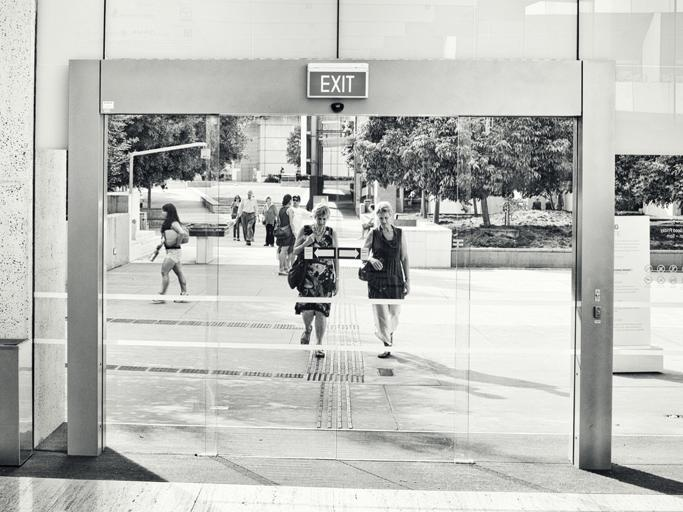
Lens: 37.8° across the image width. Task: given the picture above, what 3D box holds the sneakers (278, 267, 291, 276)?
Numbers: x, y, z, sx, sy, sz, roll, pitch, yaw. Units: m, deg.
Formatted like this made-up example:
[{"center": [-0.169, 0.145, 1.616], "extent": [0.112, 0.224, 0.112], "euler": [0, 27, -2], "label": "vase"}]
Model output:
[{"center": [-0.574, 0.164, 9.893], "extent": [0.045, 0.054, 0.126], "euler": [3, 7, 23], "label": "sneakers"}]

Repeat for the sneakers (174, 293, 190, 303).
[{"center": [-1.574, 0.427, 9.808], "extent": [0.191, 0.140, 0.065], "euler": [1, 2, 0], "label": "sneakers"}]

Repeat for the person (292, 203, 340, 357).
[{"center": [-0.253, 0.250, 9.886], "extent": [0.428, 1.518, 0.171], "euler": [-1, 6, -5], "label": "person"}]

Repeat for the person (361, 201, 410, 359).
[{"center": [0.419, 0.197, 9.842], "extent": [0.463, 1.419, 0.119], "euler": [-1, 6, -3], "label": "person"}]

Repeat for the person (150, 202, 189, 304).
[{"center": [-1.674, -0.053, 9.787], "extent": [0.360, 0.916, 0.126], "euler": [-1, 6, -11], "label": "person"}]

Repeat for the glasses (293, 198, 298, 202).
[{"center": [-0.448, -0.547, 9.819], "extent": [0.031, 0.024, 0.032], "euler": [-6, 11, -26], "label": "glasses"}]

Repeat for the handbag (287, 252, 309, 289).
[{"center": [-0.434, 0.147, 9.987], "extent": [0.211, 0.328, 0.158], "euler": [7, 12, 17], "label": "handbag"}]

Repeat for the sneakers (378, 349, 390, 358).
[{"center": [0.420, 0.975, 9.889], "extent": [0.111, 0.048, 0.059], "euler": [-8, 38, 5], "label": "sneakers"}]

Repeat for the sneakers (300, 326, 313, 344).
[{"center": [-0.350, 0.802, 9.889], "extent": [0.072, 0.188, 0.049], "euler": [15, 8, 1], "label": "sneakers"}]

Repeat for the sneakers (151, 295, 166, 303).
[{"center": [-1.810, 0.446, 9.867], "extent": [0.113, 0.050, 0.052], "euler": [4, -2, -7], "label": "sneakers"}]
